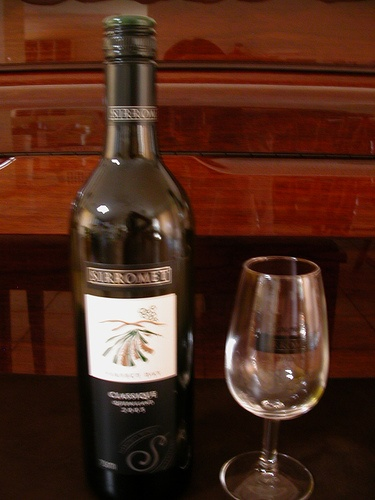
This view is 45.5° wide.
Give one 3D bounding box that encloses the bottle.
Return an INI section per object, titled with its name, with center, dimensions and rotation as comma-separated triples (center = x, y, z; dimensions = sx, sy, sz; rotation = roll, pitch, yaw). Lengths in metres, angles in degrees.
[bottle]
center = -0.034, 0.021, 0.310
dimensions = 0.091, 0.333, 0.054
rotation = -3, 16, -13
